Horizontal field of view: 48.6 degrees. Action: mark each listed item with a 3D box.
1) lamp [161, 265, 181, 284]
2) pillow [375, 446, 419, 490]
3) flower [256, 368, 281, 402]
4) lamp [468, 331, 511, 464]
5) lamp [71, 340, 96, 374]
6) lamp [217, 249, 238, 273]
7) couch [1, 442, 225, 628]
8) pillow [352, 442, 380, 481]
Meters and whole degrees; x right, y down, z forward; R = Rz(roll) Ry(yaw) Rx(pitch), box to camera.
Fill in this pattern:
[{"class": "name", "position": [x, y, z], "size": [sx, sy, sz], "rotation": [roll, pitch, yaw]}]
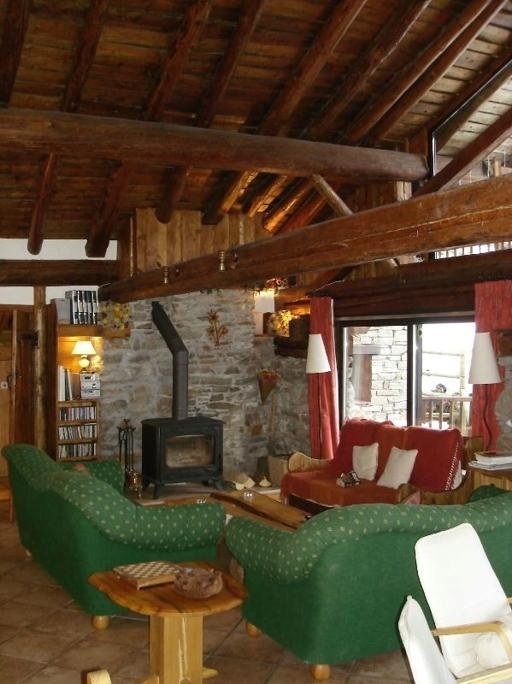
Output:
[{"class": "lamp", "position": [-0.823, -0.639, 5.537], "size": [0.193, 0.166, 0.049], "rotation": [5, 0, 25]}, {"class": "pillow", "position": [1.177, 1.077, 4.714], "size": [0.193, 0.352, 0.361], "rotation": [49, -25, -21]}, {"class": "flower", "position": [0.160, 0.669, 7.922], "size": [0.241, 0.334, 0.215], "rotation": [-2, 1, -30]}, {"class": "lamp", "position": [1.739, 0.422, 4.225], "size": [0.297, 0.954, 0.750], "rotation": [-1, 0, 20]}, {"class": "lamp", "position": [-2.075, 0.202, 6.897], "size": [0.396, 0.424, 0.384], "rotation": [-2, 5, -28]}, {"class": "lamp", "position": [-0.229, -0.645, 4.581], "size": [0.158, 0.191, 0.273], "rotation": [-5, 9, -33]}, {"class": "couch", "position": [-0.770, 0.774, 3.342], "size": [0.883, 0.663, 1.503], "rotation": [-3, 3, -31]}, {"class": "pillow", "position": [0.990, 1.114, 5.118], "size": [0.106, 0.273, 0.294], "rotation": [17, -18, -31]}]
